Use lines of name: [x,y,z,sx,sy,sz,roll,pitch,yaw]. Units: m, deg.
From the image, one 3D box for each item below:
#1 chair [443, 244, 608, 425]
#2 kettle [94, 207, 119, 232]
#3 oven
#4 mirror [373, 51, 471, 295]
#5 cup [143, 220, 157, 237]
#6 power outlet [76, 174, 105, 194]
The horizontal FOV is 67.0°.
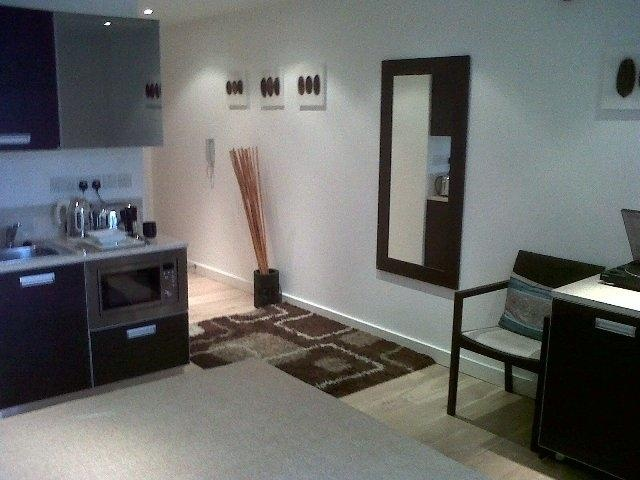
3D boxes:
chair: [1.346,0.687,3.263,0.680,1.104,0.732,-12,19,-43]
kettle: [-1.654,-0.155,3.730,0.091,0.183,0.174,3,4,39]
oven: [-1.292,0.221,3.453,0.506,0.361,0.293,-5,7,-39]
mirror: [0.832,-0.567,3.998,0.147,1.780,0.866,-12,18,-44]
cup: [-1.330,-0.089,3.799,0.110,0.115,0.113,1,7,0]
power outlet: [-1.766,-0.436,3.737,0.147,0.150,0.036,6,0,-36]
